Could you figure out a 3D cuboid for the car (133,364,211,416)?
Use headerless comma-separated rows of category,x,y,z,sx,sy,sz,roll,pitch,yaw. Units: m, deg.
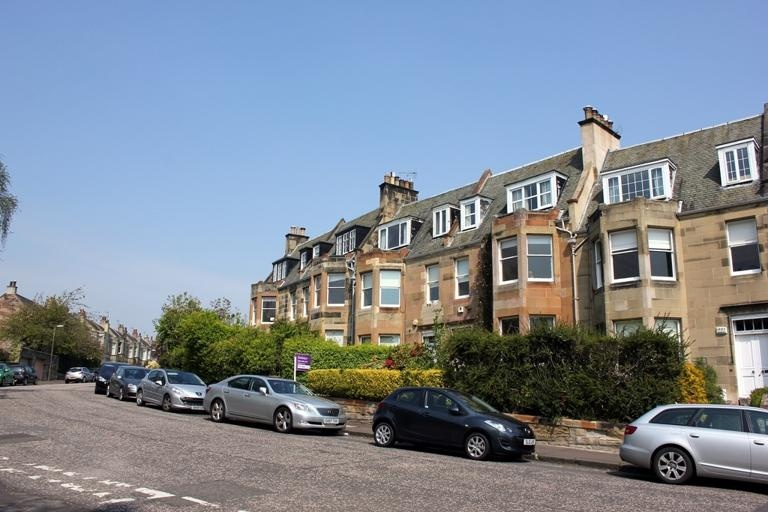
car,-9.354,6.023,28.581,1.549,1.874,3.926,15,-19,-41

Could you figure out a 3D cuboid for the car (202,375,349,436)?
car,-4.246,5.571,23.786,5.337,1.621,2.197,-7,-18,36

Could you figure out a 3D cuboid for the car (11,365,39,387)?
car,-27.656,9.158,48.820,1.222,1.009,2.117,-1,-6,0

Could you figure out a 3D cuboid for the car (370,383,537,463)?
car,2.286,5.390,20.510,4.499,1.843,2.409,-9,-18,32
